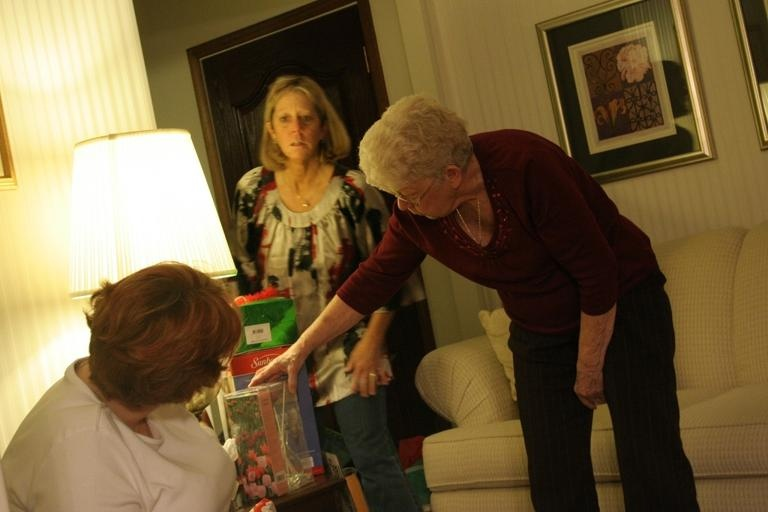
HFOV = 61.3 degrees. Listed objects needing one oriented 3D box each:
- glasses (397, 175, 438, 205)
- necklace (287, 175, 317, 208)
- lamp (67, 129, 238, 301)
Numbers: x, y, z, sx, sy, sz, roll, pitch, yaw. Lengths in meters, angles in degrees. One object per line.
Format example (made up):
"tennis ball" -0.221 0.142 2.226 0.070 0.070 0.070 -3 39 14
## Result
"glasses" 0.107 -0.199 2.013 0.089 0.033 0.088 -49 18 -9
"necklace" -0.369 -0.275 2.928 0.116 0.115 0.159 0 -21 2
"lamp" -0.921 -0.140 2.541 0.585 0.570 0.594 -14 -5 -33
